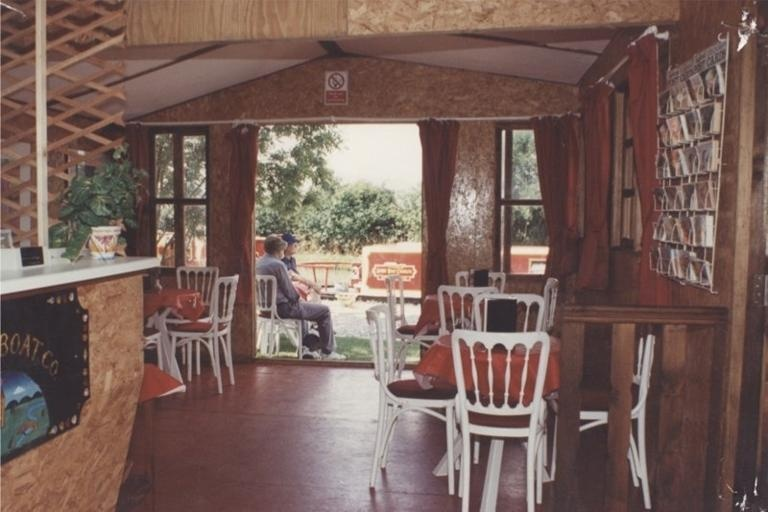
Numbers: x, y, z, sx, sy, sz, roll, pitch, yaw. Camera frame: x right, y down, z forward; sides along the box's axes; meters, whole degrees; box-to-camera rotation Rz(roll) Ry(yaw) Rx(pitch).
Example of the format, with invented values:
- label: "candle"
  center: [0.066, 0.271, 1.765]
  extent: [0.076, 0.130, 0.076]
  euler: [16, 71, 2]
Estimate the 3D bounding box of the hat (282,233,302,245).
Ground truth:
- label: "hat"
  center: [-1.196, -0.229, 9.748]
  extent: [0.222, 0.123, 0.149]
  euler: [-5, 11, -33]
